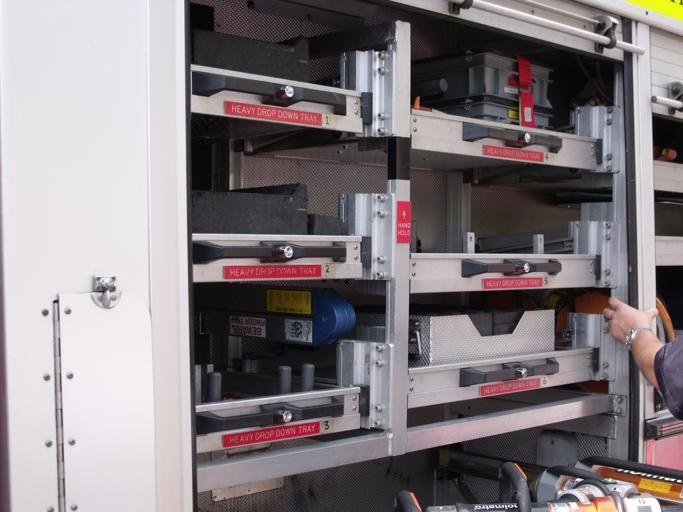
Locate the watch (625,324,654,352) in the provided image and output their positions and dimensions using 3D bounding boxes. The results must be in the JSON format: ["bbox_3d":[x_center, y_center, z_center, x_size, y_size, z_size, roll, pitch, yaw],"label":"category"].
[{"bbox_3d":[1.212,0.328,2.977,0.103,0.043,0.092,-3,1,9],"label":"watch"}]
